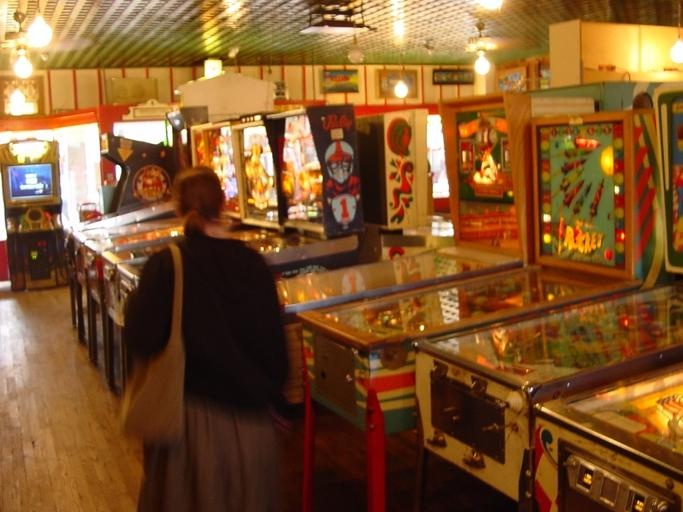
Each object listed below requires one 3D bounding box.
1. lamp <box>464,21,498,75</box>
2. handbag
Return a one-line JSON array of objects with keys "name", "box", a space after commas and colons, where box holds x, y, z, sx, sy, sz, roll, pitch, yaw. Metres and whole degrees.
[{"name": "lamp", "box": [2.066, -3.091, 8.421, 0.400, 0.758, 0.399, 6, 18, 35]}, {"name": "handbag", "box": [-0.647, 0.471, 1.888, 0.256, 0.335, 0.108, 1, 12, 19]}]
